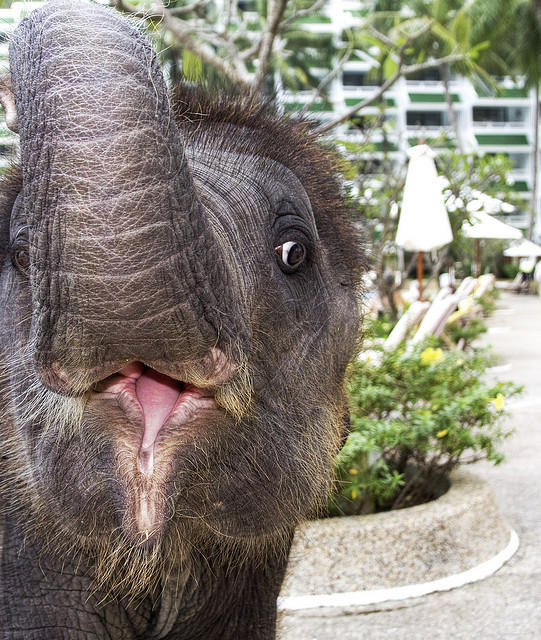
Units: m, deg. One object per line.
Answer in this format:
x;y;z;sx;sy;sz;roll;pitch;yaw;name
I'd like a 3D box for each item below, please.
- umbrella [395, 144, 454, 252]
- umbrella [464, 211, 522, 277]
1.175;-0.923;6.573;0.429;0.825;0.567;-1;6;10;umbrella
1.768;-0.597;7.112;0.621;0.464;0.565;1;1;30;umbrella
